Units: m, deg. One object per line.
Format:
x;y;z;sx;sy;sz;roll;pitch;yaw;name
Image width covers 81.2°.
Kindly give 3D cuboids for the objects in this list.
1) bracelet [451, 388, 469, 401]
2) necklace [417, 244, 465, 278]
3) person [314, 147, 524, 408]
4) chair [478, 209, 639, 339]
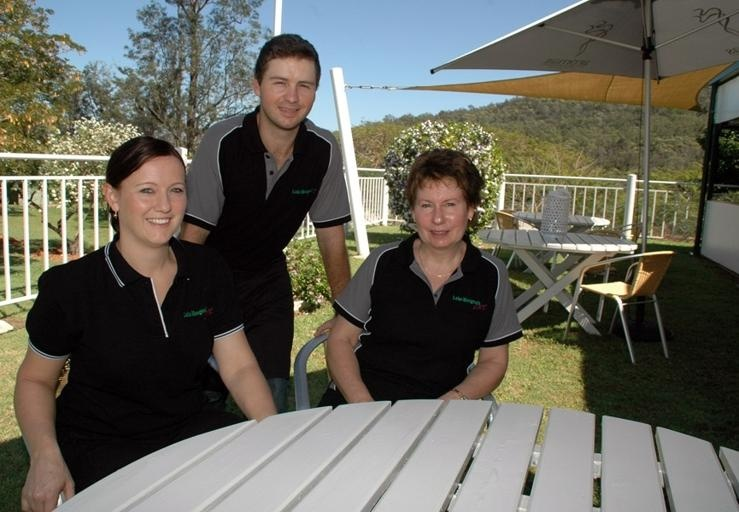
0.388;0.594;1.848;0.048;0.016;0.043;22;25;-45;bracelet
0.328;0.048;2.035;0.145;0.180;0.067;3;55;6;necklace
0.234;0.170;1.982;0.939;1.201;0.736;6;12;11;person
2.082;0.189;4.818;1.502;0.859;1.421;-1;9;-1;chair
